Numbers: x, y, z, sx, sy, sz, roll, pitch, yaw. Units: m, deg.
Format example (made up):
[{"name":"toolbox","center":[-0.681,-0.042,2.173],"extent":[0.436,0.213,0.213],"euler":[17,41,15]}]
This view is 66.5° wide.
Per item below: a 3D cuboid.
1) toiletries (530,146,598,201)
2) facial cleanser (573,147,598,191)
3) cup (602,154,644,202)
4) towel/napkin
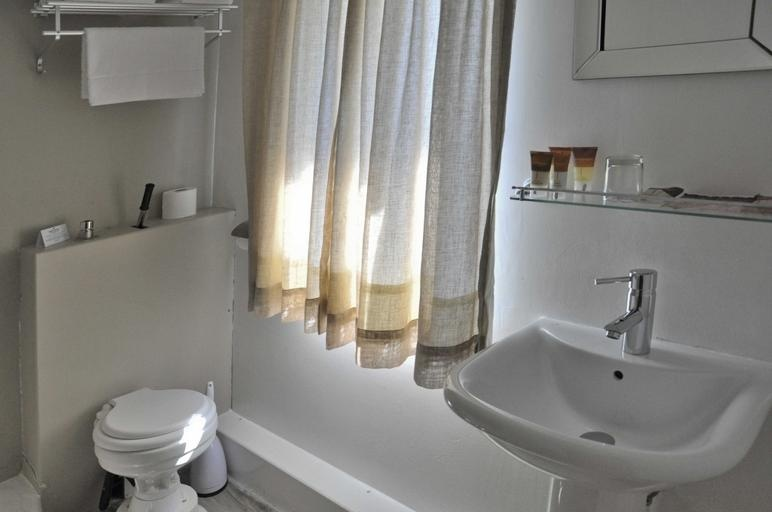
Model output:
[{"name":"toiletries","center":[0.553,-0.255,1.830],"extent":[0.163,0.116,0.063],"euler":[4,21,7]},{"name":"facial cleanser","center":[0.621,-0.276,1.854],"extent":[0.070,0.131,0.070],"euler":[5,17,15]},{"name":"cup","center":[0.714,-0.237,1.773],"extent":[0.134,0.151,0.133],"euler":[-1,9,0]},{"name":"towel/napkin","center":[-0.958,-0.753,2.311],"extent":[0.351,0.205,0.071],"euler":[-19,39,-39]}]
